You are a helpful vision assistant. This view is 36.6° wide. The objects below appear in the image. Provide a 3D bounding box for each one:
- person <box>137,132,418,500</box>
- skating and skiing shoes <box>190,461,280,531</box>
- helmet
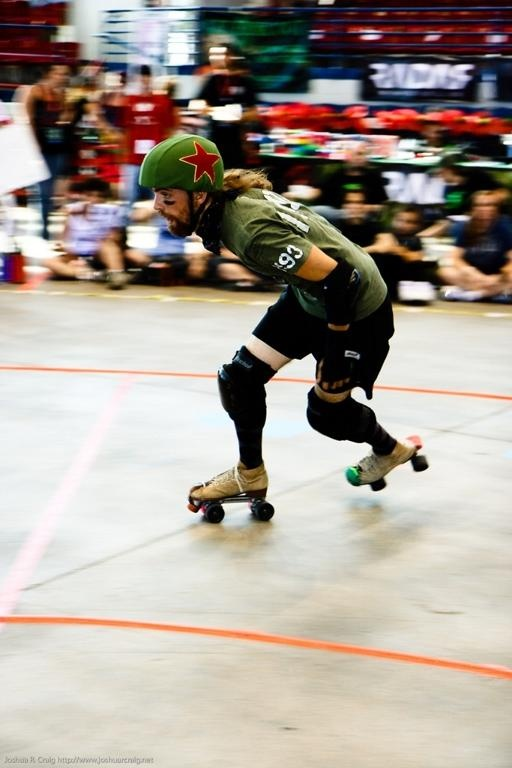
[{"bbox_3d":[0.118,-0.178,2.743,0.613,1.269,0.918,13,14,38],"label":"person"},{"bbox_3d":[-0.104,0.400,2.887,0.311,0.174,0.187,-2,5,-19],"label":"skating and skiing shoes"},{"bbox_3d":[-0.231,-0.722,2.511,0.231,0.196,0.208,14,25,35],"label":"helmet"}]
